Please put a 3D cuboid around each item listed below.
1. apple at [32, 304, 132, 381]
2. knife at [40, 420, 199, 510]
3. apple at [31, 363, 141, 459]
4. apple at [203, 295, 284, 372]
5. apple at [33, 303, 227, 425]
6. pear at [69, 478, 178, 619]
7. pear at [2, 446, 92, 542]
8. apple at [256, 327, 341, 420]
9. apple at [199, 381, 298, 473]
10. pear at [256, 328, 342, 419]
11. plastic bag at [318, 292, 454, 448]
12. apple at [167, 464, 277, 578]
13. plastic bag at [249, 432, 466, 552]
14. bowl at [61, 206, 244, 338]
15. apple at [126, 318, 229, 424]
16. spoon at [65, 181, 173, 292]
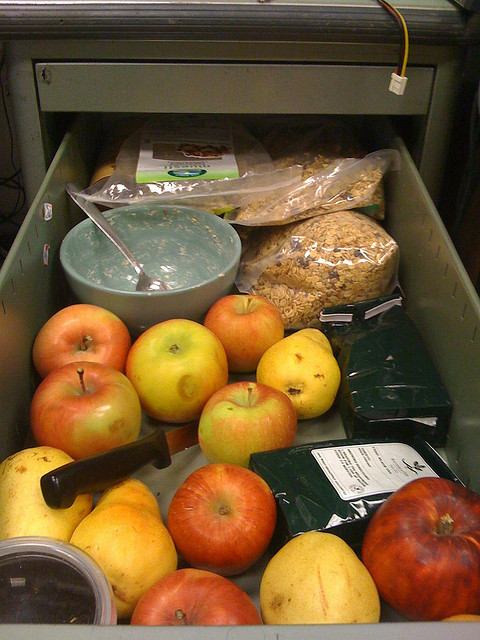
[{"bbox_3d":[-0.226,0.038,0.742,0.119,0.120,0.119,8,3,-10],"label":"apple"},{"bbox_3d":[-0.101,0.142,0.537,0.034,0.058,0.254,13,9,28],"label":"knife"},{"bbox_3d":[-0.184,0.113,0.600,0.117,0.122,0.119,-4,44,-21],"label":"apple"},{"bbox_3d":[0.024,0.006,0.774,0.083,0.069,0.083,-17,39,-30],"label":"apple"},{"bbox_3d":[-0.160,0.065,0.728,0.248,0.110,0.137,16,34,9],"label":"apple"},{"bbox_3d":[-0.114,0.206,0.494,0.084,0.082,0.160,11,15,-16],"label":"pear"},{"bbox_3d":[-0.180,0.164,0.480,0.062,0.085,0.065,-5,-10,-4],"label":"pear"},{"bbox_3d":[0.072,0.086,0.748,0.110,0.115,0.143,8,39,9],"label":"apple"},{"bbox_3d":[0.012,0.120,0.628,0.100,0.112,0.097,-8,25,-24],"label":"apple"},{"bbox_3d":[0.079,0.083,0.748,0.109,0.114,0.141,7,43,15],"label":"pear"},{"bbox_3d":[0.203,0.063,0.732,0.138,0.080,0.245,-5,36,4],"label":"plastic bag"},{"bbox_3d":[-0.019,0.179,0.500,0.098,0.094,0.102,-2,36,-4],"label":"apple"},{"bbox_3d":[0.122,0.165,0.526,0.164,0.043,0.118,-7,33,-15],"label":"plastic bag"},{"bbox_3d":[-0.141,-0.109,0.809,0.246,0.138,0.251,1,35,0],"label":"bowl"},{"bbox_3d":[-0.087,0.063,0.695,0.136,0.107,0.140,-9,51,-13],"label":"apple"},{"bbox_3d":[-0.215,-0.142,0.898,0.242,0.028,0.048,49,47,10],"label":"spoon"}]
